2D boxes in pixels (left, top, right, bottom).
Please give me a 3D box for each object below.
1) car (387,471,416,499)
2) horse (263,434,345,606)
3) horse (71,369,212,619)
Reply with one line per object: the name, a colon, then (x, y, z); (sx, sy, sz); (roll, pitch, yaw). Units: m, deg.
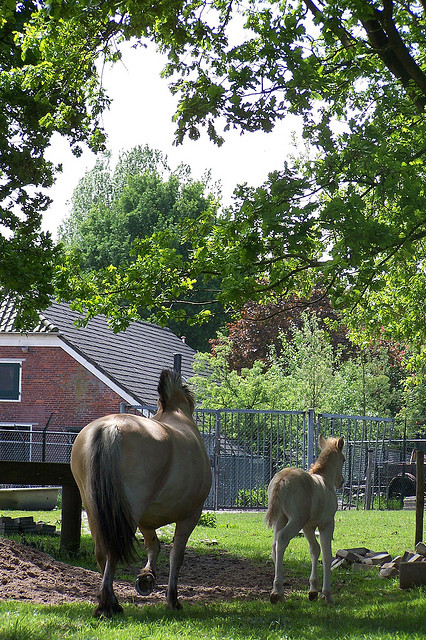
car: (5.329, 4.663, 21.615); (0.710, 0.765, 1.620); (1, -9, 13)
horse: (0.849, 1.847, 7.192); (0.684, 1.500, 1.295); (2, -9, 9)
horse: (-0.465, 1.387, 6.148); (0.774, 1.729, 2.185); (-9, -18, 15)
